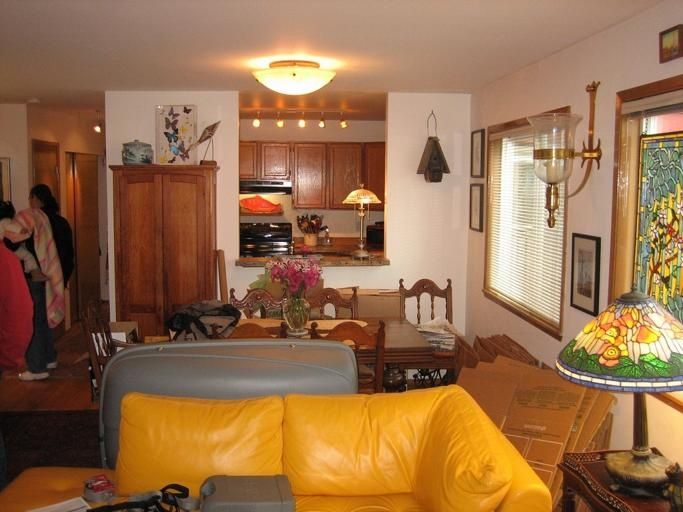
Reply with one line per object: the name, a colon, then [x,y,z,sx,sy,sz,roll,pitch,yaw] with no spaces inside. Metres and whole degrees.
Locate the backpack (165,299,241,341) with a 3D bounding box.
backpack: [-0.988,0.446,3.713,0.352,0.130,0.322,2,22,35]

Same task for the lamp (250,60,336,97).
lamp: [-0.390,-1.485,4.375,0.647,0.246,0.394,0,4,-4]

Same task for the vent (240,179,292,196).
vent: [-1.076,-0.999,7.594,0.724,0.203,0.223,0,5,-10]

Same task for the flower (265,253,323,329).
flower: [-0.362,0.252,4.011,0.487,0.646,0.494,0,2,-11]

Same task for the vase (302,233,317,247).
vase: [-0.443,-0.238,7.691,0.178,0.139,0.180,-1,7,-6]

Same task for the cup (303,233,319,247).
cup: [-0.430,-0.233,7.631,0.183,0.188,0.187,0,5,0]

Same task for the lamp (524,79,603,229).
lamp: [1.433,-0.669,3.386,0.399,0.952,0.731,3,5,26]

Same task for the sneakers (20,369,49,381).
sneakers: [-3.263,1.268,5.674,0.279,0.122,0.114,4,5,-1]
